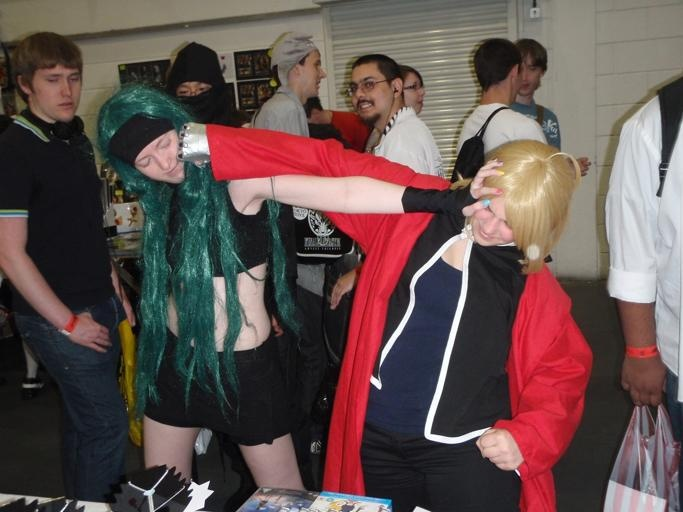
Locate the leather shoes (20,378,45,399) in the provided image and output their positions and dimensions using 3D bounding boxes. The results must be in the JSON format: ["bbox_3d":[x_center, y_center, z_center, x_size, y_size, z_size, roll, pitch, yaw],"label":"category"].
[{"bbox_3d":[-2.144,0.919,4.058,0.112,0.155,0.164,1,0,-4],"label":"leather shoes"}]

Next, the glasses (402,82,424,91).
[{"bbox_3d":[0.463,-1.085,3.705,0.090,0.029,0.092,11,25,24],"label":"glasses"}]

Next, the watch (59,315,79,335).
[{"bbox_3d":[-1.080,0.276,2.316,0.027,0.070,0.068,29,6,-15],"label":"watch"}]
